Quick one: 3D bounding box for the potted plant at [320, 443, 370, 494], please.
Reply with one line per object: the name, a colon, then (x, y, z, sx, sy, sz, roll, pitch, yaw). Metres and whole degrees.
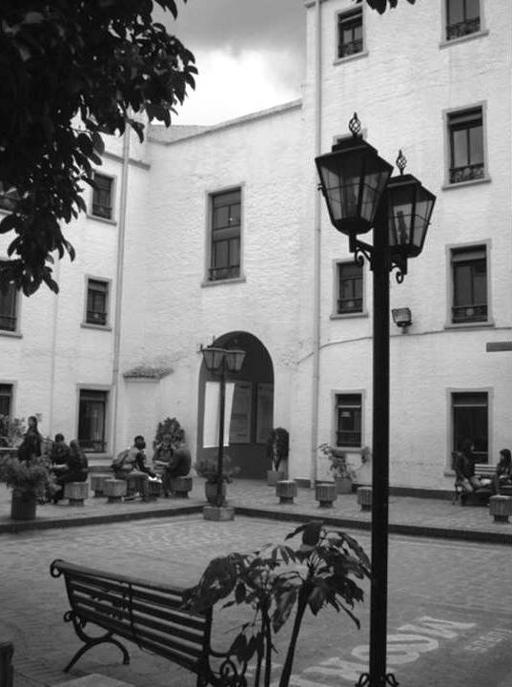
potted plant: (2.412, 3.223, 20.360, 0.970, 1.032, 1.082, 0, -15, 6)

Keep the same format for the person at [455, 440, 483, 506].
person: (4.582, 2.814, 17.216, 0.507, 1.353, 0.677, 1, -7, 16)

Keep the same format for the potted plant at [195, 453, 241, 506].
potted plant: (-0.801, 2.764, 15.880, 0.420, 0.636, 0.438, 9, -5, 29)

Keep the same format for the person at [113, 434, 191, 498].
person: (-2.217, 2.699, 17.794, 1.790, 1.768, 1.043, 0, -3, -26)
